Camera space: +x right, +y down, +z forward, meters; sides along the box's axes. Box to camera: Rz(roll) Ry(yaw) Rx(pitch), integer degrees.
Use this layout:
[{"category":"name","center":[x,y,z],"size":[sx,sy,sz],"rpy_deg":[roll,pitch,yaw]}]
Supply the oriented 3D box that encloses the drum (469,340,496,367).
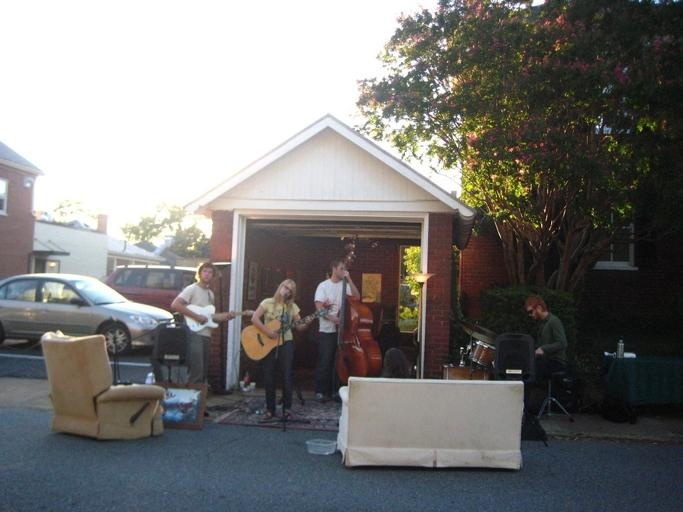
[{"category":"drum","center":[2.239,1.548,9.702],"size":[0.361,0.320,0.384],"rpy_deg":[4,0,16]}]

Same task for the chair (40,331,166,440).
[{"category":"chair","center":[-3.337,1.721,8.350],"size":[1.436,1.487,1.247],"rpy_deg":[0,-1,40]}]

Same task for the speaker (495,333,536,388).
[{"category":"speaker","center":[2.474,1.461,8.753],"size":[0.464,0.751,0.568],"rpy_deg":[2,0,7]}]

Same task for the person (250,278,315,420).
[{"category":"person","center":[-0.877,1.431,9.425],"size":[0.946,2.242,0.639],"rpy_deg":[3,4,-2]}]

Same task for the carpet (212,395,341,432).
[{"category":"carpet","center":[-0.964,2.487,9.634],"size":[1.846,0.195,1.734],"rpy_deg":[9,-3,-10]}]

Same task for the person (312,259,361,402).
[{"category":"person","center":[-0.244,1.142,10.419],"size":[0.733,2.494,0.648],"rpy_deg":[7,0,15]}]

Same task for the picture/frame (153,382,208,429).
[{"category":"picture/frame","center":[-2.297,2.117,8.575],"size":[0.625,0.618,0.095],"rpy_deg":[0,-20,-3]}]

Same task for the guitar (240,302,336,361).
[{"category":"guitar","center":[-0.919,1.125,9.517],"size":[1.336,0.604,0.206],"rpy_deg":[-27,-1,-9]}]

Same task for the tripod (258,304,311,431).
[{"category":"tripod","center":[-1.012,1.559,9.306],"size":[0.757,1.766,0.926],"rpy_deg":[2,3,8]}]

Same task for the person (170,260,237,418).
[{"category":"person","center":[-2.227,1.225,9.708],"size":[0.636,2.191,0.744],"rpy_deg":[1,-5,29]}]

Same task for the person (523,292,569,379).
[{"category":"person","center":[3.208,1.572,9.890],"size":[0.817,1.841,0.835],"rpy_deg":[4,-11,8]}]

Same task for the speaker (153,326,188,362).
[{"category":"speaker","center":[-2.489,1.266,8.929],"size":[0.462,0.660,0.492],"rpy_deg":[2,-5,-14]}]
